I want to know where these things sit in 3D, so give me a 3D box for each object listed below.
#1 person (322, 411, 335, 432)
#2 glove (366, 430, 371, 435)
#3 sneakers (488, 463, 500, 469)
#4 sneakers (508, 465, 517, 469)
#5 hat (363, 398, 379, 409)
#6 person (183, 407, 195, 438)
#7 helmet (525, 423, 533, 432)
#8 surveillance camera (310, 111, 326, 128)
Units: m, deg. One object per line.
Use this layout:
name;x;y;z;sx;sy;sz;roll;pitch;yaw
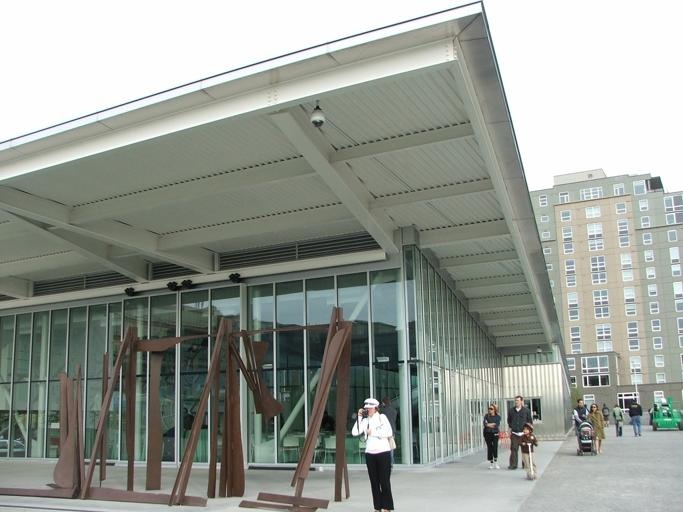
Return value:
person;-0.397;5.270;20.964;0.430;0.652;0.203;-5;-15;3
glove;0.556;3.382;12.637;0.099;0.108;0.039;-4;-2;2
sneakers;4.781;6.457;20.209;0.183;0.192;0.523;2;-22;-13
sneakers;5.128;6.252;19.459;0.115;0.130;0.342;-15;-30;27
hat;0.630;2.880;12.999;0.377;0.157;0.465;5;-11;0
person;-5.380;5.820;23.055;0.640;1.057;0.171;-14;-18;34
helmet;5.204;4.704;17.999;0.193;0.201;0.229;10;13;19
surveillance camera;-0.504;-3.052;14.536;0.348;0.350;0.318;-2;-11;-8
